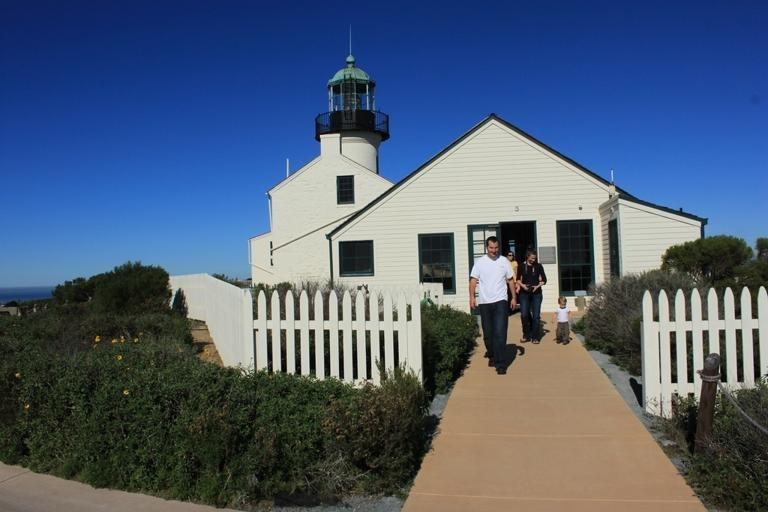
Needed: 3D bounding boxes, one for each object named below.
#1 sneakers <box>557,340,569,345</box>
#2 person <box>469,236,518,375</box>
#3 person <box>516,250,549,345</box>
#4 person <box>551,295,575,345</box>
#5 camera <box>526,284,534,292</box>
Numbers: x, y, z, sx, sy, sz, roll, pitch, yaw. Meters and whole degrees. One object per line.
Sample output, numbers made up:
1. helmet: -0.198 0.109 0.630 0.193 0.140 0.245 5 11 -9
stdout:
1. sneakers: 3.546 1.714 13.889 0.234 0.081 0.222 -2 -5 13
2. person: 1.925 0.865 12.336 0.754 2.397 0.933 -1 -4 10
3. person: 3.021 0.810 14.419 0.578 1.903 0.778 -1 -4 11
4. person: 3.653 1.322 14.319 0.314 0.927 1.390 -1 -4 14
5. camera: 2.943 0.642 14.074 0.119 0.106 0.042 -1 -4 11
